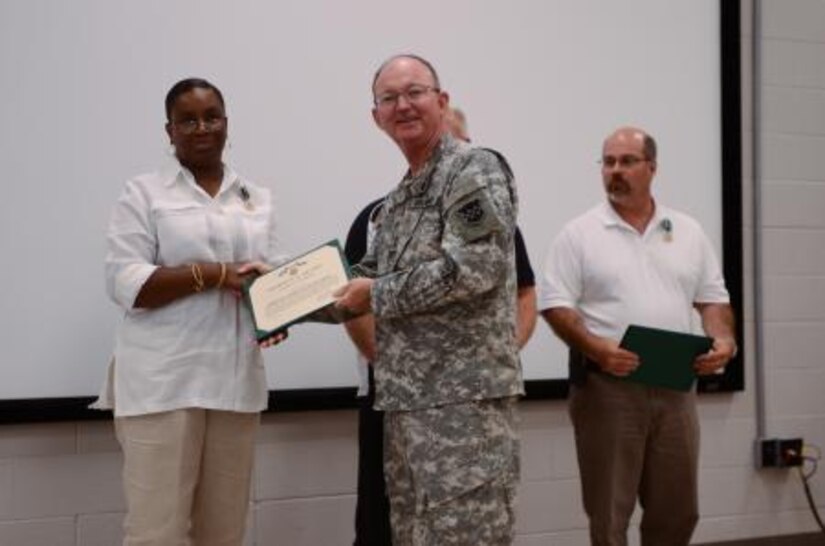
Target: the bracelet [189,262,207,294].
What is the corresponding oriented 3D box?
[{"bbox_3d":[-0.950,0.022,3.243,0.024,0.105,0.081,-14,-1,7],"label":"bracelet"}]
